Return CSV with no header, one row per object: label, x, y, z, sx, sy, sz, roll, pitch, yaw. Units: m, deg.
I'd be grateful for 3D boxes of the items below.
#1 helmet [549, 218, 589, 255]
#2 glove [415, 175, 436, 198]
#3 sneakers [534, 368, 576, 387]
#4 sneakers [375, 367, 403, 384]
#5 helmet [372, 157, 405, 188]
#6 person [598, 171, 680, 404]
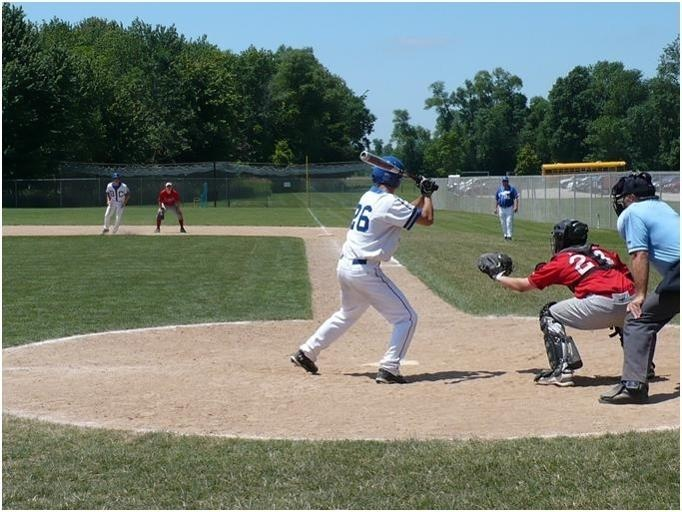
helmet,3.171,-0.243,14.814,0.420,0.447,0.486,4,16,-9
glove,1.230,-0.980,15.476,0.243,0.153,0.315,26,11,6
sneakers,2.905,1.662,14.639,0.471,0.198,0.236,3,-2,37
sneakers,0.679,1.704,15.047,0.393,0.185,0.173,0,3,-18
helmet,0.705,-1.199,15.387,0.495,0.427,0.380,-6,17,-29
person,3.952,0.421,13.907,0.838,2.893,1.051,3,13,14
